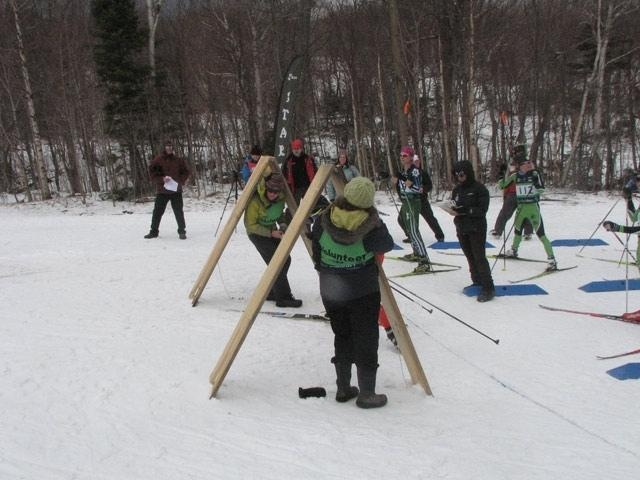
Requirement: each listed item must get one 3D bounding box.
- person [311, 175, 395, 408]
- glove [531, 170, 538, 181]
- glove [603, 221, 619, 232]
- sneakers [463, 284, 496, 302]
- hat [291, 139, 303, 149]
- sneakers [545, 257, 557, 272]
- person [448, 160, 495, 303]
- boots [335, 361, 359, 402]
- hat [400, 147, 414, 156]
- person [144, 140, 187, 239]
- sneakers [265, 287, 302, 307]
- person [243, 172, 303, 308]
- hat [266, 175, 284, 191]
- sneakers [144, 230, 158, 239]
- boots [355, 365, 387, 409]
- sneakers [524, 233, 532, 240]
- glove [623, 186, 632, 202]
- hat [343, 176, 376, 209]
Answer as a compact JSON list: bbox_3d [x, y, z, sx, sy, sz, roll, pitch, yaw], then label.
[{"bbox_3d":[0.421,0.625,6.979,0.897,2.657,0.546,-5,12,-1],"label":"person"},{"bbox_3d":[4.131,-1.235,11.595,0.148,0.184,0.290,-1,13,19],"label":"glove"},{"bbox_3d":[4.724,-0.213,9.817,0.227,0.228,0.468,1,14,27],"label":"glove"},{"bbox_3d":[2.729,0.901,10.064,0.616,0.275,0.208,8,1,-7],"label":"sneakers"},{"bbox_3d":[-0.486,-2.037,13.041,0.240,0.252,0.320,-1,20,1],"label":"hat"},{"bbox_3d":[4.318,0.475,11.260,0.123,0.247,0.344,-5,3,37],"label":"sneakers"},{"bbox_3d":[2.567,-0.186,10.175,0.663,2.245,1.120,-2,13,13],"label":"person"},{"bbox_3d":[0.315,1.687,7.260,0.226,0.463,0.455,-2,-2,24],"label":"boots"},{"bbox_3d":[1.692,-1.719,11.673,0.218,0.194,0.181,2,3,26],"label":"hat"},{"bbox_3d":[-3.330,-1.037,13.279,0.976,2.082,0.845,-6,12,-3],"label":"person"},{"bbox_3d":[-0.543,0.932,9.656,0.678,0.300,0.233,0,7,-5],"label":"sneakers"},{"bbox_3d":[-0.701,0.026,9.347,0.726,2.170,0.845,-12,14,-29],"label":"person"},{"bbox_3d":[-0.660,-0.822,8.816,0.182,0.215,0.241,17,4,-12],"label":"hat"},{"bbox_3d":[-3.672,-0.092,13.335,0.349,0.156,0.121,1,8,-8],"label":"sneakers"},{"bbox_3d":[0.635,1.728,7.045,0.388,0.442,0.219,-1,7,-3],"label":"boots"},{"bbox_3d":[4.773,-0.048,13.862,0.080,0.115,0.270,-2,-5,9],"label":"sneakers"},{"bbox_3d":[4.998,-0.750,9.821,0.090,0.232,0.139,-28,28,-6],"label":"glove"},{"bbox_3d":[0.439,-0.519,6.786,0.362,0.353,0.240,-5,12,0],"label":"hat"}]
